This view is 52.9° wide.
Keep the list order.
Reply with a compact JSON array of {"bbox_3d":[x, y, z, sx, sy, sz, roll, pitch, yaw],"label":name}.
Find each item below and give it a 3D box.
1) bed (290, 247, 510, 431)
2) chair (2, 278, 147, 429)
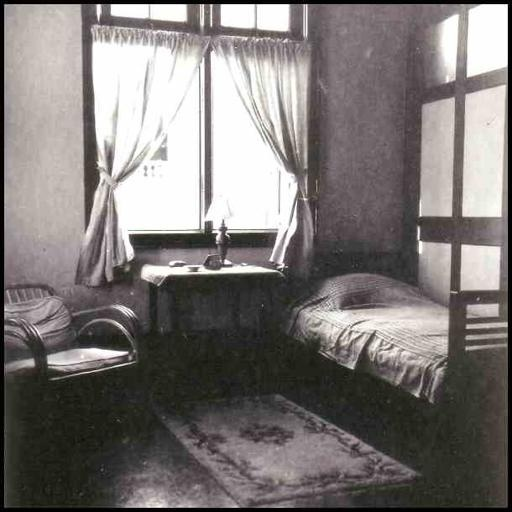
[{"bbox_3d":[0.359,0.189,1.301,0.352,0.212,0.426,-12,23,-41],"label":"bed"},{"bbox_3d":[-0.412,0.202,1.162,0.185,0.205,0.285,-3,4,-42],"label":"chair"}]
